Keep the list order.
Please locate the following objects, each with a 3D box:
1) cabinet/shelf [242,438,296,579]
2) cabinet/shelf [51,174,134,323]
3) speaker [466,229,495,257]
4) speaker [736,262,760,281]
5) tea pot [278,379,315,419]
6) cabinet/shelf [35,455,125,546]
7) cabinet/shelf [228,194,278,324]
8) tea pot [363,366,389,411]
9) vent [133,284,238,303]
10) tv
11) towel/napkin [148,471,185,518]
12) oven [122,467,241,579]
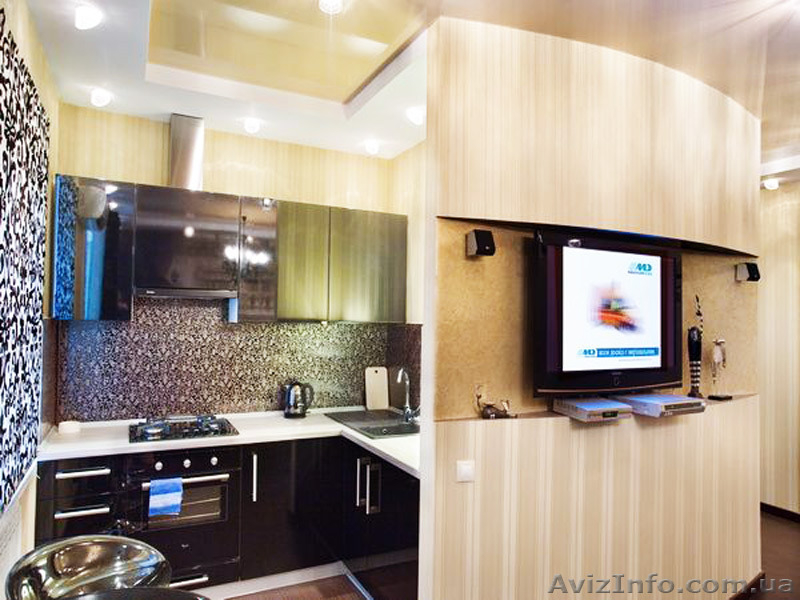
[{"bbox_3d":[-0.888,1.429,4.391,0.334,0.873,0.143,0,7,-15],"label":"cabinet/shelf"},{"bbox_3d":[-1.979,-0.332,4.224,0.471,0.918,0.199,0,7,-14],"label":"cabinet/shelf"},{"bbox_3d":[0.424,-0.304,3.510,0.134,0.119,0.071,4,-10,-37],"label":"speaker"},{"bbox_3d":[2.389,-0.184,4.501,0.206,0.167,0.111,2,-2,-40],"label":"speaker"},{"bbox_3d":[-0.774,0.773,5.019,0.276,0.258,0.278,2,7,0],"label":"tea pot"},{"bbox_3d":[-1.972,1.210,4.076,0.463,0.699,0.447,3,-7,-30],"label":"cabinet/shelf"},{"bbox_3d":[-1.018,-0.287,4.677,0.272,0.870,0.152,0,7,-15],"label":"cabinet/shelf"},{"bbox_3d":[-0.183,0.730,5.334,0.200,0.319,0.148,1,7,-9],"label":"tea pot"},{"bbox_3d":[-1.504,-0.035,4.605,0.676,0.131,0.320,-1,8,-25],"label":"vent"},{"bbox_3d":[1.157,0.065,3.760,0.968,0.841,0.125,1,-4,-24],"label":"tv"},{"bbox_3d":[-1.492,1.252,4.144,0.294,0.349,0.015,2,-6,-29],"label":"towel/napkin"},{"bbox_3d":[-1.485,1.356,4.430,0.829,0.826,0.554,0,-4,-28],"label":"oven"}]
